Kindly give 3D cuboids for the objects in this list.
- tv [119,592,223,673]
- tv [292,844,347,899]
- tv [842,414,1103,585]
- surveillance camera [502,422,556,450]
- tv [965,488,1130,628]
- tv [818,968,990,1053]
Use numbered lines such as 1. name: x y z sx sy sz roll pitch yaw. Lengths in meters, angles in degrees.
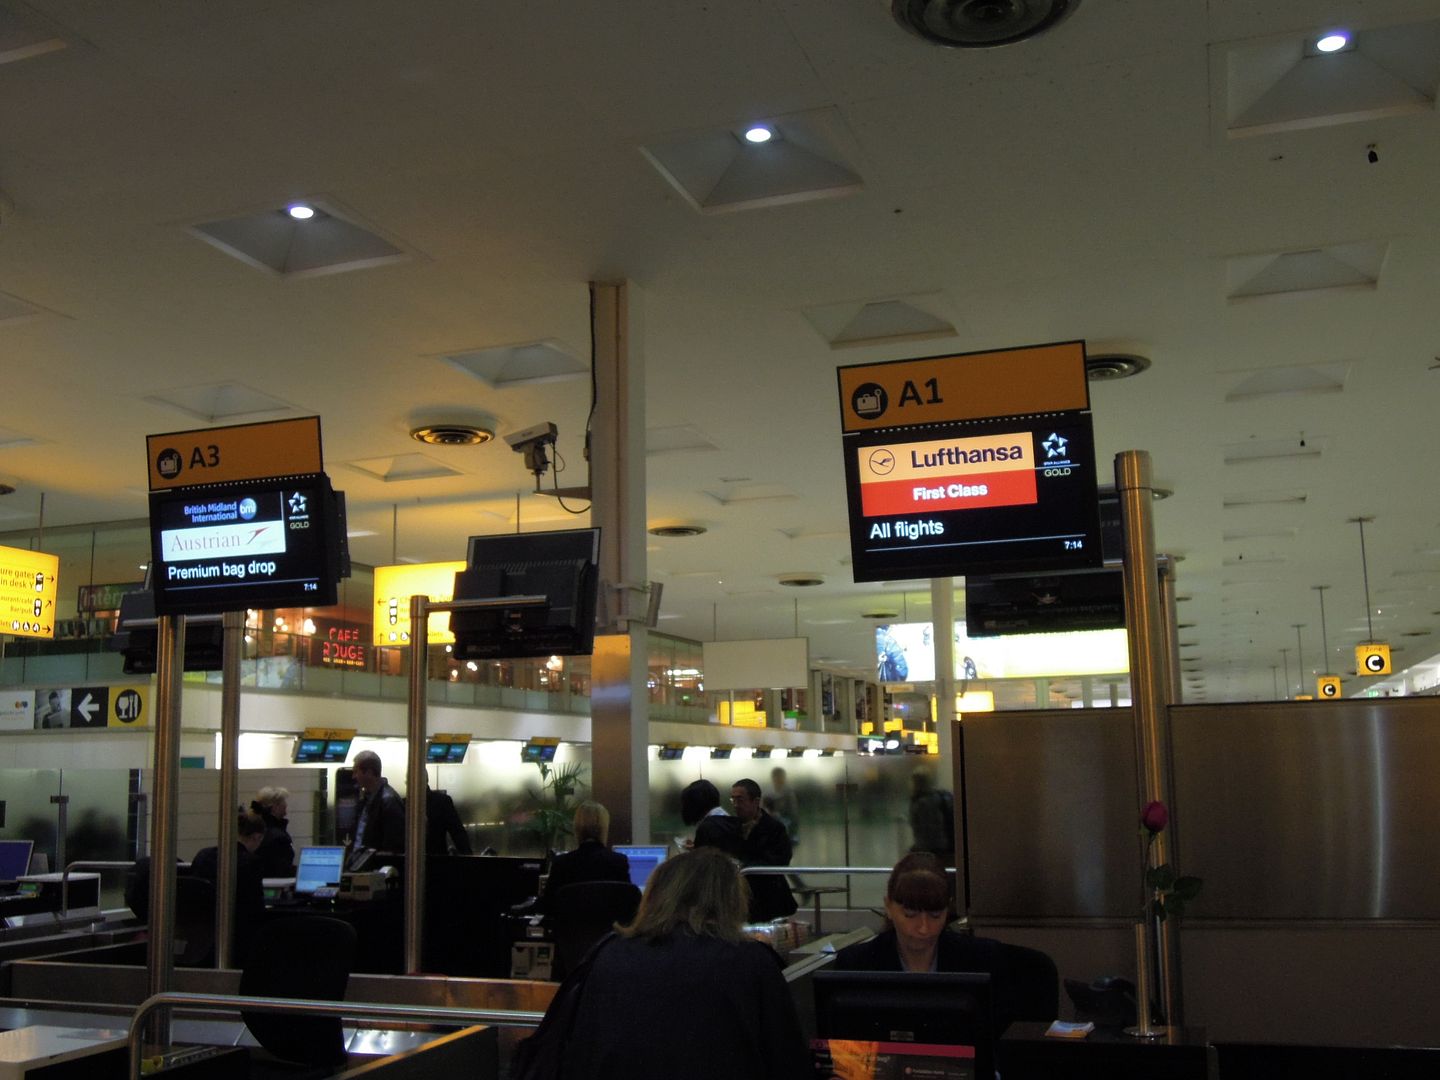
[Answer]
1. tv: -3.259 0.576 7.780 0.481 0.435 0.662 -2 -6 18
2. tv: -2.866 2.333 9.350 0.393 0.323 0.171 -3 -10 9
3. tv: 1.187 -0.203 6.238 1.157 0.736 0.155 -4 -11 15
4. surveillance camera: -1.337 -0.786 9.497 0.299 0.222 0.428 2 -10 -18
5. tv: 1.617 0.078 6.568 0.912 0.466 0.847 -3 20 12
6. tv: 0.556 1.427 4.042 0.380 0.251 0.252 -1 0 13
